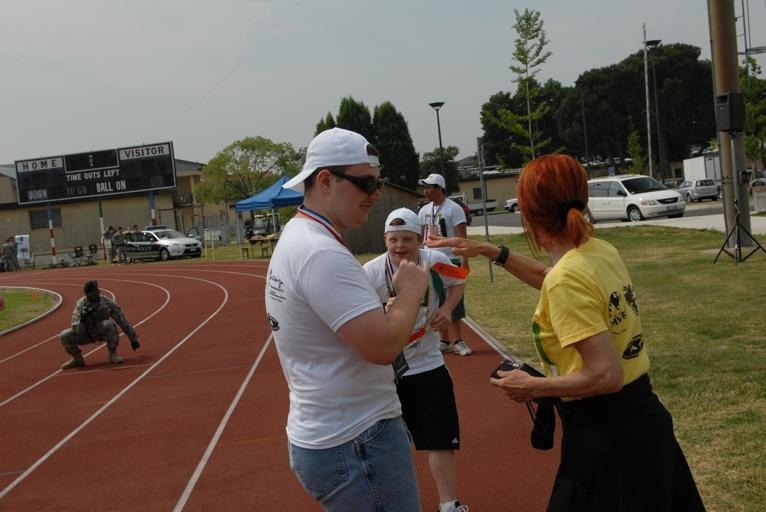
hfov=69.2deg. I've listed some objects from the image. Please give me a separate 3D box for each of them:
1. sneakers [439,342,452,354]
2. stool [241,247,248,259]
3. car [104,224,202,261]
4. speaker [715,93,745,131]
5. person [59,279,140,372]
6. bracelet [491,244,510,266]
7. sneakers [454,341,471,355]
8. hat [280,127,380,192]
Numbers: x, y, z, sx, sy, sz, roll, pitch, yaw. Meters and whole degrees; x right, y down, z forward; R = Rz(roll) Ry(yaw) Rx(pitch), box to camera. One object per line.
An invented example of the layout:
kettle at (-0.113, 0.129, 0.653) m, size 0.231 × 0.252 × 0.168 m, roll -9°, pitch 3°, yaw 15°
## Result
sneakers at (0.947, 1.381, 8.240) m, size 0.154 × 0.186 × 0.408 m, roll -5°, pitch -12°, yaw 19°
stool at (-8.171, -0.116, 32.849) m, size 0.525 × 0.684 × 0.572 m, roll -2°, pitch 4°, yaw 10°
car at (-14.706, -0.670, 36.077) m, size 5.356 × 1.980 × 1.864 m, roll -4°, pitch 6°, yaw 18°
speaker at (7.744, -3.156, 12.280) m, size 0.552 × 0.846 × 0.404 m, roll -5°, pitch 5°, yaw 5°
person at (-5.353, 1.284, 10.504) m, size 1.307 × 1.528 × 1.031 m, roll -5°, pitch -4°, yaw -29°
bracelet at (0.822, -0.005, 3.814) m, size 0.099 × 0.158 × 0.140 m, roll 23°, pitch -5°, yaw 0°
sneakers at (1.180, 1.371, 8.148) m, size 0.120 × 0.128 × 0.281 m, roll -3°, pitch -6°, yaw -15°
hat at (-0.251, -0.531, 2.965) m, size 0.574 × 0.333 × 0.381 m, roll -9°, pitch -2°, yaw 42°
